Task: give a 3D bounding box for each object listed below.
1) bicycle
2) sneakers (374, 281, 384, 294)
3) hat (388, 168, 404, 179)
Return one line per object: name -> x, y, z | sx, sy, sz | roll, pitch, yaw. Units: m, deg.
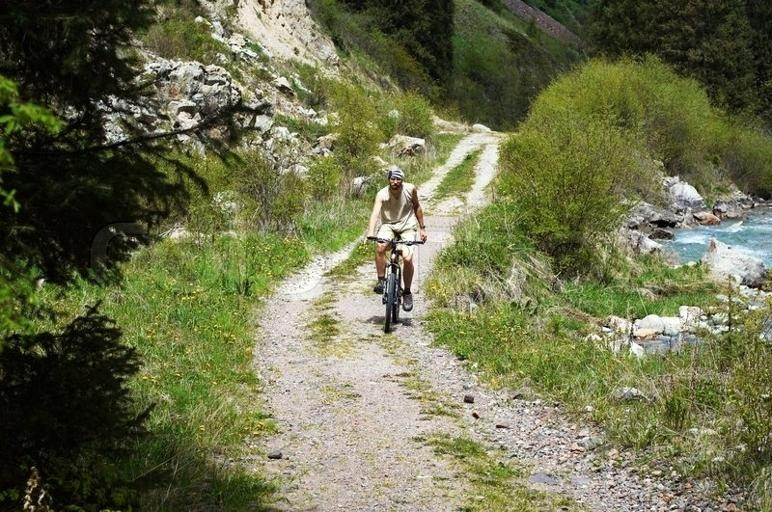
bicycle -> 0.182, 0.429, 13.244 | 0.507, 1.532, 0.861 | -1, 14, -11
sneakers -> -0.091, 0.519, 13.069 | 0.164, 0.214, 0.156 | 4, 15, 7
hat -> 0.176, -1.352, 13.299 | 0.221, 0.201, 0.457 | 1, 17, -5
